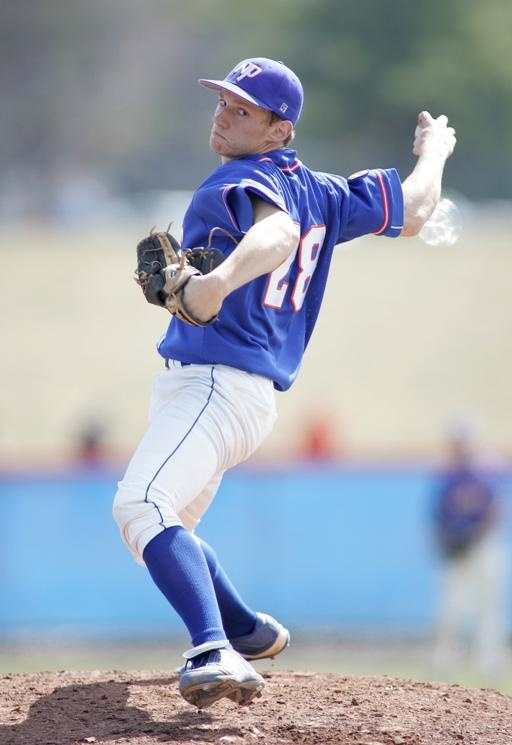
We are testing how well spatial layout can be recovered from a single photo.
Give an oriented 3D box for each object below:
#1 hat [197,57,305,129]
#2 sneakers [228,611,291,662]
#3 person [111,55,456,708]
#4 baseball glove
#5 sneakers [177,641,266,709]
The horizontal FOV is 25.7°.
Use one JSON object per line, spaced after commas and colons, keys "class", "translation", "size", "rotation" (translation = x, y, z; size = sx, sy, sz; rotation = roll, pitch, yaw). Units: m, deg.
{"class": "hat", "translation": [0.009, -0.745, 2.965], "size": [0.275, 0.141, 0.203], "rotation": [9, 11, -34]}
{"class": "sneakers", "translation": [0.009, 0.750, 3.186], "size": [0.085, 0.098, 0.236], "rotation": [-9, -1, 11]}
{"class": "person", "translation": [-0.006, -0.022, 2.912], "size": [0.492, 1.663, 0.879], "rotation": [0, -3, 33]}
{"class": "baseball glove", "translation": [-0.173, -0.232, 2.622], "size": [0.248, 0.215, 0.120], "rotation": [13, -14, -25]}
{"class": "sneakers", "translation": [-0.082, 0.701, 2.604], "size": [0.127, 0.108, 0.249], "rotation": [52, 3, 20]}
